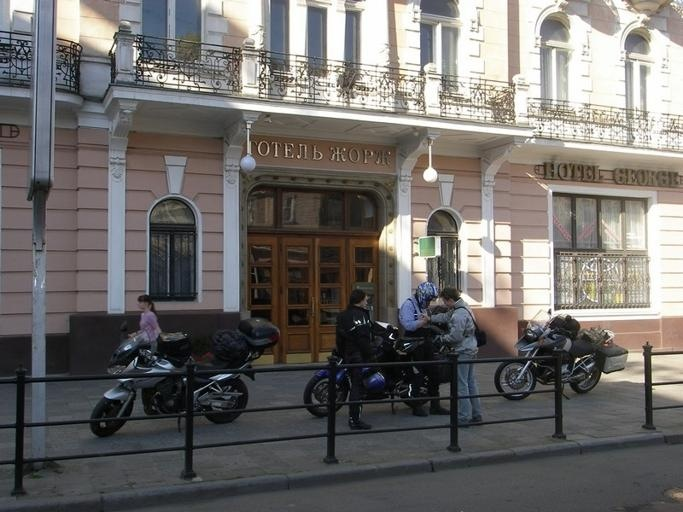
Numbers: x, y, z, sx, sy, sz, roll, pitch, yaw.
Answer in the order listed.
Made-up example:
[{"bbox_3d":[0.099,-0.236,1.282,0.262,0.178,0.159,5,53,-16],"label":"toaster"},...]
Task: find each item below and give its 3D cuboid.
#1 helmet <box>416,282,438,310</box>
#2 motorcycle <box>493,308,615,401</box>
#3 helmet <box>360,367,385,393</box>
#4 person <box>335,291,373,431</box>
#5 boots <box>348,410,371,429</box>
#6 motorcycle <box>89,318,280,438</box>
[{"bbox_3d":[1.519,0.685,14.473,0.441,0.462,0.360,0,-3,43],"label":"helmet"},{"bbox_3d":[3.962,1.875,15.400,2.491,1.524,0.883,-5,10,-35],"label":"motorcycle"},{"bbox_3d":[0.518,2.028,13.403,0.401,0.344,0.320,2,-4,-24],"label":"helmet"},{"bbox_3d":[0.247,1.684,13.207,0.609,2.170,1.364,0,8,-5],"label":"person"},{"bbox_3d":[0.248,2.598,13.003,0.428,0.315,0.183,-1,-1,-6],"label":"boots"},{"bbox_3d":[-2.474,1.959,12.899,2.857,1.622,1.601,-2,8,-18],"label":"motorcycle"}]
